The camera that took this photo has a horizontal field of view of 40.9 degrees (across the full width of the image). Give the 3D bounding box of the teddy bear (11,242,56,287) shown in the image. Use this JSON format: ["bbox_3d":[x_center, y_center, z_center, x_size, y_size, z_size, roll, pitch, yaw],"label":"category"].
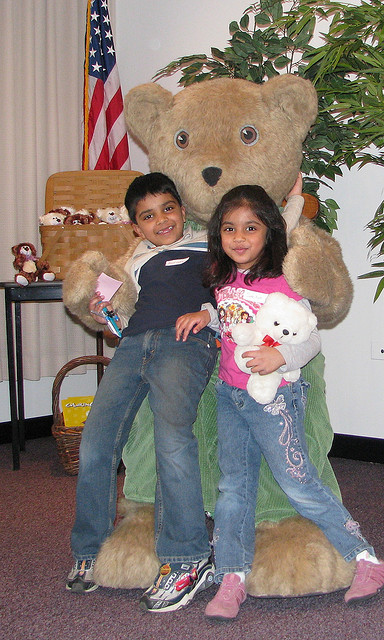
[{"bbox_3d":[-0.642,-0.229,2.053,0.141,0.173,0.140,-11,15,-22],"label":"teddy bear"}]

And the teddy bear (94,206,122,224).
[{"bbox_3d":[-0.332,-0.432,2.069,0.088,0.088,0.054,1,15,16],"label":"teddy bear"}]

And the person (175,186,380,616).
[{"bbox_3d":[0.163,0.137,1.193,0.387,0.767,0.399,-3,1,-4],"label":"person"}]

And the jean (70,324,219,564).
[{"bbox_3d":[-0.134,0.282,1.230,0.281,0.591,0.138,0,-32,-3],"label":"jean"}]

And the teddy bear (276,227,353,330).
[{"bbox_3d":[0.289,-0.087,1.229,0.183,0.243,0.105,-18,-3,-5],"label":"teddy bear"}]

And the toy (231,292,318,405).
[{"bbox_3d":[0.171,0.058,1.109,0.148,0.172,0.140,35,19,-7],"label":"toy"}]

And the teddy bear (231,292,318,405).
[{"bbox_3d":[0.179,0.048,1.091,0.095,0.119,0.099,38,-3,-18],"label":"teddy bear"}]

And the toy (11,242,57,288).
[{"bbox_3d":[-0.630,-0.226,2.043,0.160,0.165,0.146,-4,19,-6],"label":"toy"}]

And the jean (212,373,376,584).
[{"bbox_3d":[0.206,0.337,1.151,0.327,0.359,0.204,-3,1,1],"label":"jean"}]

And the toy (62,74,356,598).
[{"bbox_3d":[0.045,0.031,1.356,0.701,1.309,0.659,0,8,12],"label":"toy"}]

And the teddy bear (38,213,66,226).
[{"bbox_3d":[-0.560,-0.399,2.105,0.065,0.034,0.088,-3,7,5],"label":"teddy bear"}]

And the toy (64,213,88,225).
[{"bbox_3d":[-0.456,-0.393,2.028,0.055,0.055,0.019,1,-28,-1],"label":"toy"}]

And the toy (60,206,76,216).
[{"bbox_3d":[-0.513,-0.450,2.138,0.038,0.046,0.050,12,19,28],"label":"toy"}]

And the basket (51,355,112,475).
[{"bbox_3d":[-0.425,0.396,2.133,0.314,0.441,0.224,-3,-5,-17],"label":"basket"}]

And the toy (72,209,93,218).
[{"bbox_3d":[-0.450,-0.431,2.095,0.054,0.033,0.074,-3,12,-1],"label":"toy"}]
